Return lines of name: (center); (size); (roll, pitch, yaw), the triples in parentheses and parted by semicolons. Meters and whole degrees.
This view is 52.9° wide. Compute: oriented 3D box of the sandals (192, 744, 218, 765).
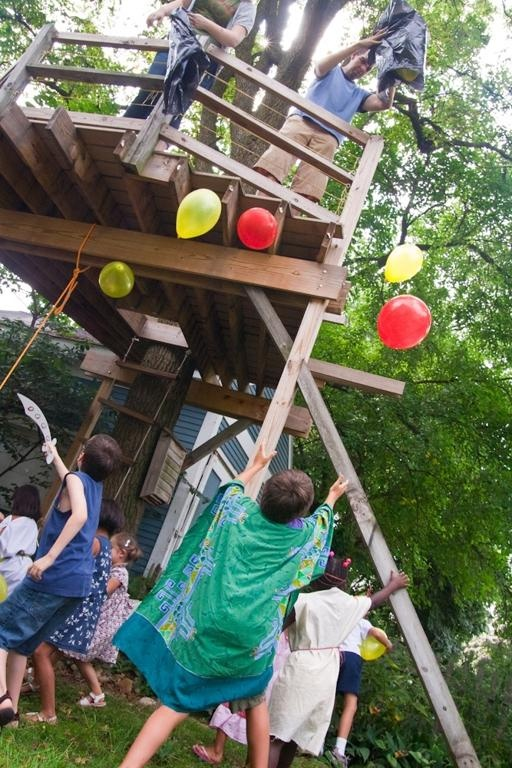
sandals: (-0.282, 2.106, 2.907); (0.149, 0.050, 0.086); (24, -10, 25)

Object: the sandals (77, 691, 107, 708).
sandals: (-0.978, 1.908, 3.104); (0.161, 0.076, 0.077); (6, -27, 5)

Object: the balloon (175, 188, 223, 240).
balloon: (-0.358, -1.019, 3.094); (0.295, 0.309, 0.390); (6, 9, -2)

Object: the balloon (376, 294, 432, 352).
balloon: (0.938, -0.392, 3.330); (0.332, 0.391, 0.334); (6, -7, 2)
